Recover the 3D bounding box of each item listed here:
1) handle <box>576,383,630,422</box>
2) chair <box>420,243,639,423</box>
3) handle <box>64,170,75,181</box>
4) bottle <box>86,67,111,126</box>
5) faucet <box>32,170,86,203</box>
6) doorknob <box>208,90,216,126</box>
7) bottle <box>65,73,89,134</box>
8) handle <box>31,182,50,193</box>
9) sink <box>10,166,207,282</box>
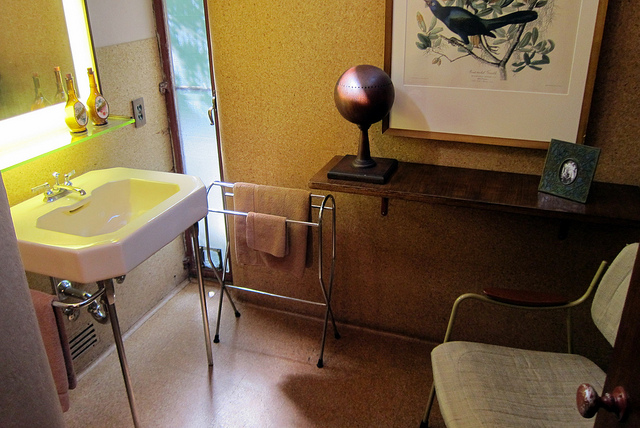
[{"bbox_3d":[0.765,0.507,1.333,0.116,0.095,0.115,10,26,22],"label":"handle"},{"bbox_3d":[0.940,0.506,2.149,0.544,0.773,0.578,3,30,10],"label":"chair"},{"bbox_3d":[-1.221,-0.192,2.404,0.048,0.041,0.039,13,31,11],"label":"handle"},{"bbox_3d":[-1.155,-0.609,2.524,0.091,0.280,0.094,2,22,-1],"label":"bottle"},{"bbox_3d":[-1.250,-0.138,2.338,0.218,0.124,0.156,-12,27,-31],"label":"faucet"},{"bbox_3d":[-0.638,-0.634,2.891,0.046,0.187,0.120,-3,23,-14],"label":"doorknob"},{"bbox_3d":[-1.239,-0.574,2.485,0.101,0.295,0.185,-1,23,-8],"label":"bottle"},{"bbox_3d":[-1.294,-0.126,2.264,0.056,0.017,0.060,-25,25,-34],"label":"handle"},{"bbox_3d":[-1.010,0.039,2.217,0.560,0.310,0.647,11,29,18],"label":"sink"}]
